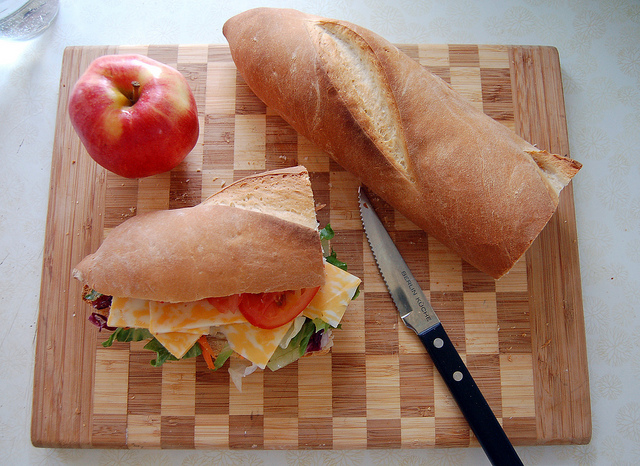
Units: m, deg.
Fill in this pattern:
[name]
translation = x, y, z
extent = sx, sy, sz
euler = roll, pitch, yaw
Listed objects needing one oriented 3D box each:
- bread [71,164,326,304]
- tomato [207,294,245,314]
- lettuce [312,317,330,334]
[bread]
translation = -0.535, 0.048, 3.068
extent = 1.061, 0.173, 0.563
euler = -10, 75, 2
[tomato]
translation = -0.433, 0.321, 3.062
extent = 0.109, 0.042, 0.094
euler = -11, 30, -26
[lettuce]
translation = -0.001, 0.428, 3.152
extent = 0.064, 0.064, 0.023
euler = 38, 38, -13
